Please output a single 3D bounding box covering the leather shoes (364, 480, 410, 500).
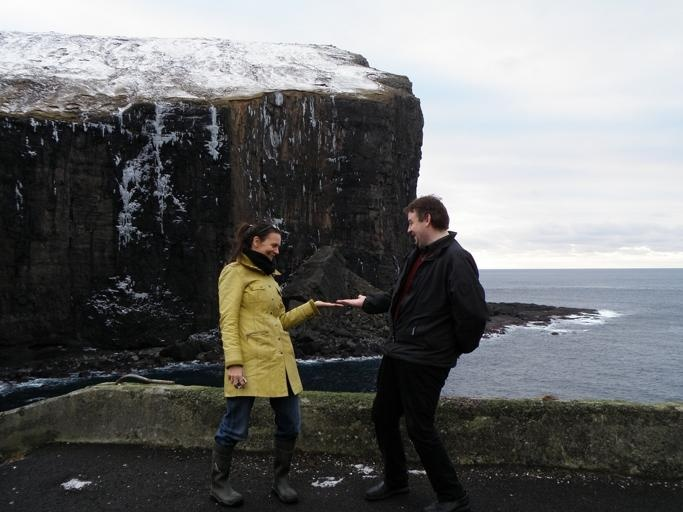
[{"bbox_3d":[0.403,2.136,6.046,0.360,0.150,0.153,2,-6,-10],"label":"leather shoes"}]

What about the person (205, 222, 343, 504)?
[{"bbox_3d":[-0.759,0.972,6.093,0.876,2.556,0.380,6,-9,-11],"label":"person"}]

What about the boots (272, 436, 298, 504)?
[{"bbox_3d":[-0.517,1.951,6.073,0.243,0.568,0.358,6,-10,-14],"label":"boots"}]
